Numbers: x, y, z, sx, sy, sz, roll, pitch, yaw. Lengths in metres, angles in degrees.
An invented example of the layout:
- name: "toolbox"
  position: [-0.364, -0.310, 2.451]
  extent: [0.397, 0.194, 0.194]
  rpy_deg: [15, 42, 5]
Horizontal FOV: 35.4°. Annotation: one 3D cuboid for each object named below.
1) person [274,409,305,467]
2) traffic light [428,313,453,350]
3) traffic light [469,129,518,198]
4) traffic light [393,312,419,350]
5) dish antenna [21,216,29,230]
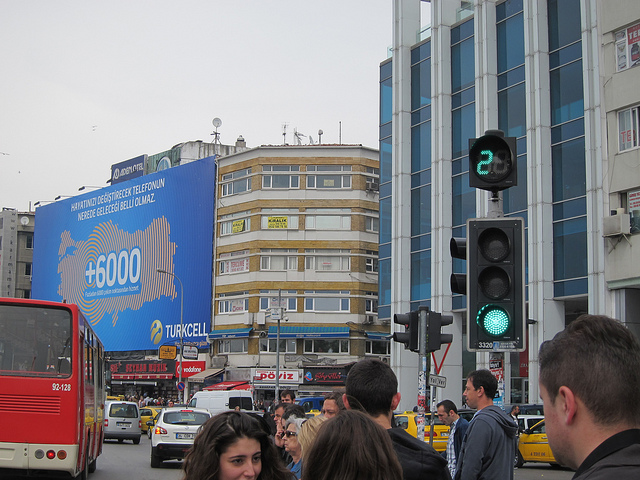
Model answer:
- name: "person"
  position: [-0.549, 2.911, 14.737]
  extent: [0.417, 1.034, 0.472]
  rpy_deg: [1, -10, -22]
- name: "traffic light"
  position: [2.053, 1.569, 17.473]
  extent: [0.390, 0.691, 0.787]
  rpy_deg: [-6, -17, 16]
- name: "traffic light"
  position: [2.417, -1.156, 14.285]
  extent: [0.655, 0.818, 0.324]
  rpy_deg: [-4, -16, 6]
- name: "traffic light"
  position: [1.459, 1.559, 17.441]
  extent: [0.459, 0.650, 0.647]
  rpy_deg: [-3, -17, 4]
- name: "dish antenna"
  position: [-30.394, -1.946, 103.476]
  extent: [0.441, 1.136, 0.687]
  rpy_deg: [-12, -19, 34]
